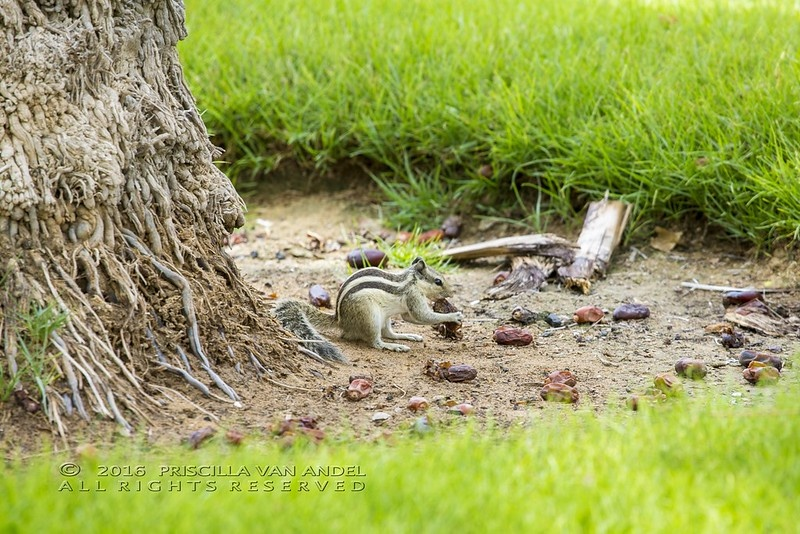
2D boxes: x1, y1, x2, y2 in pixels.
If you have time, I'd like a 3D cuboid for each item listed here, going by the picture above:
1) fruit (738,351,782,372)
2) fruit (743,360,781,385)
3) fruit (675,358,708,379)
[{"bbox_3d":[2.325,0.598,5.580,0.232,0.118,0.097,9,11,-9],"label":"fruit"},{"bbox_3d":[2.239,0.666,5.402,0.139,0.067,0.171,5,18,-3],"label":"fruit"},{"bbox_3d":[1.858,0.649,5.528,0.159,0.121,0.093,9,46,17],"label":"fruit"}]
